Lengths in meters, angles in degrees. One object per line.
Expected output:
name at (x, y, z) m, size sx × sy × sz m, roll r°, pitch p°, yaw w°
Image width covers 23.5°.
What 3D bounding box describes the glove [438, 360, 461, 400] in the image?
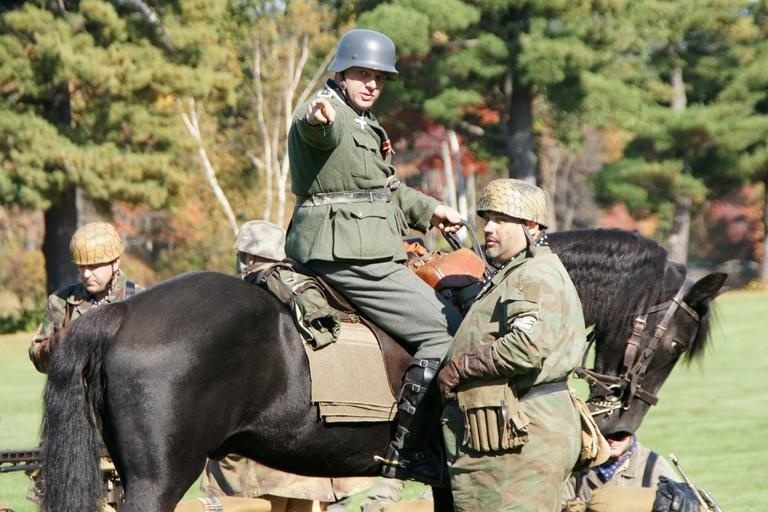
glove at (1.254, 2.409, 36.379) m, size 0.257 × 0.697 × 0.499 m, roll 16°, pitch -8°, yaw -32°
